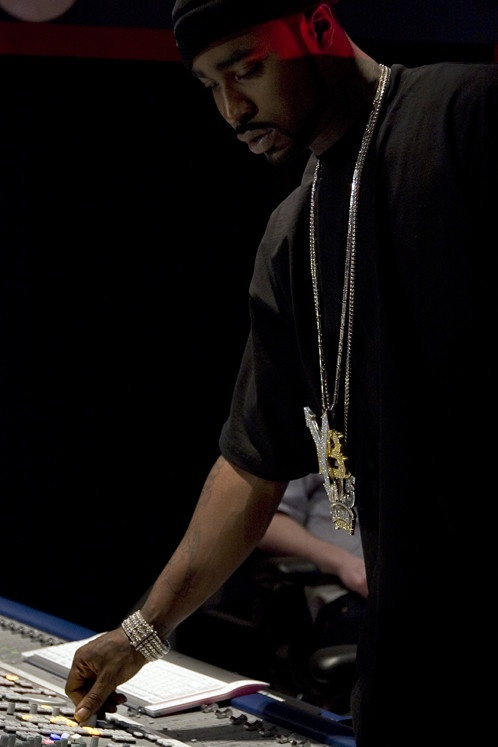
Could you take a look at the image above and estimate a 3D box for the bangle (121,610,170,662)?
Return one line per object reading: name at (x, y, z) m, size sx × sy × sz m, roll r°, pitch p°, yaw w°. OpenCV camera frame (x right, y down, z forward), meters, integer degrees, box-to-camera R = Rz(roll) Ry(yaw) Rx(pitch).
bangle at (-0.163, 0.408, 1.148) m, size 0.065 × 0.058 × 0.065 m, roll 45°, pitch -5°, yaw 12°
